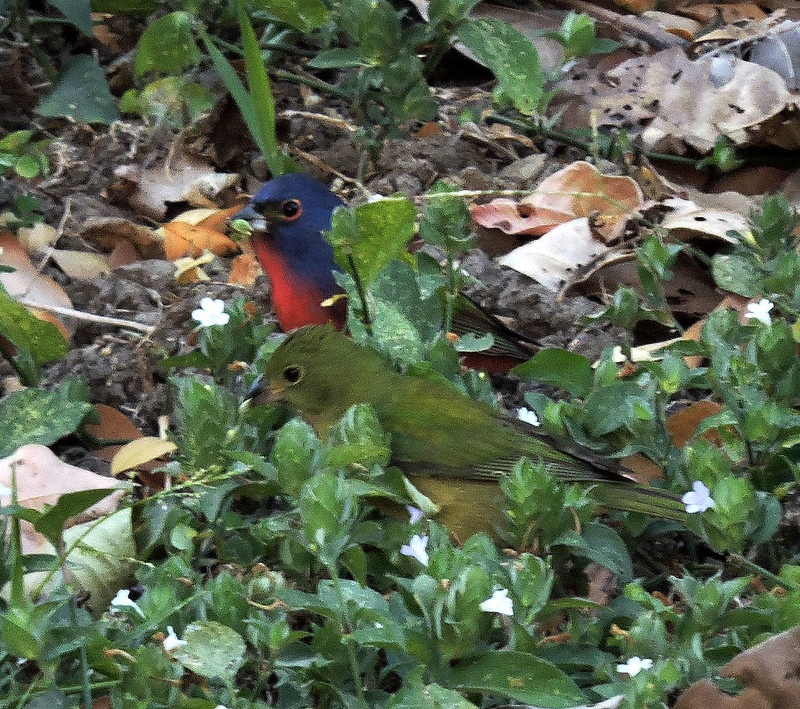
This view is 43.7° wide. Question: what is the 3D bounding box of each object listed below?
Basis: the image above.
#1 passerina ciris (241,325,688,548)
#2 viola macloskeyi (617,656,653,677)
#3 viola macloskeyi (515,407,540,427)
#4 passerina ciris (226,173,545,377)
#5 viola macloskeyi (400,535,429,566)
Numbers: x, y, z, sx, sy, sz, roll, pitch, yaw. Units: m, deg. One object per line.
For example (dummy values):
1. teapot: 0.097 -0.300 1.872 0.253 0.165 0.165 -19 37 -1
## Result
1. passerina ciris: 0.097 0.142 1.755 0.706 0.300 0.322 23 56 33
2. viola macloskeyi: 0.353 0.467 1.498 0.049 0.053 0.005 -41 51 29
3. viola macloskeyi: 0.268 0.131 2.077 0.014 0.055 0.030 -12 64 30
4. passerina ciris: -0.229 -0.181 2.711 0.370 0.869 0.506 14 95 28
5. viola macloskeyi: 0.031 0.303 1.546 0.051 0.013 0.039 -2 61 -7
